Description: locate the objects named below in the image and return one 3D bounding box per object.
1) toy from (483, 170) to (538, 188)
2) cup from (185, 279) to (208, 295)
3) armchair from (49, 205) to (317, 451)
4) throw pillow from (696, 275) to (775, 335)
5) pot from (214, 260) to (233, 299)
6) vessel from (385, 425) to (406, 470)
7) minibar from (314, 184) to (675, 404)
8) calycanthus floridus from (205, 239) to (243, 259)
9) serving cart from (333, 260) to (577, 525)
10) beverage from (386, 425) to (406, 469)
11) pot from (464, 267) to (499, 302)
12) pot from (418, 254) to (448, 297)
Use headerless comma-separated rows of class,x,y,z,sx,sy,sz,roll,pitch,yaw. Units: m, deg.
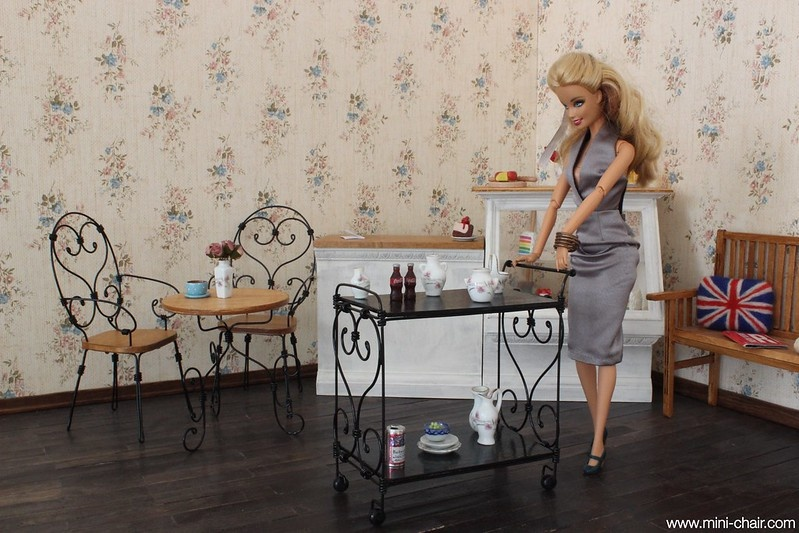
toy,0.894,-0.685,5.278,0.311,0.111,0.233,0,1,1
cup,-1.453,0.142,4.704,0.117,0.085,0.112,2,2,0
armchair,-1.630,0.369,4.919,1.982,1.600,1.279,-3,6,-8
throw pillow,2.479,0.286,4.857,0.375,0.294,0.126,6,-1,32
pot,-1.256,0.088,4.692,0.117,0.267,0.128,-2,5,0
vessel,-0.029,1.036,3.849,0.119,0.222,0.123,1,3,1
minibar,0.740,0.264,4.789,1.633,1.187,0.603,0,1,3
calycanthus floridus,-1.244,-0.111,4.716,0.161,0.138,0.286,0,6,19
serving cart,0.381,0.825,4.368,1.352,1.338,0.759,-2,4,-30
beverage,-0.009,1.026,3.885,0.093,0.230,0.245,0,6,21
pot,0.477,0.110,3.886,0.202,0.201,0.174,0,0,5
pot,0.193,0.055,4.041,0.143,0.244,0.135,-2,5,0
